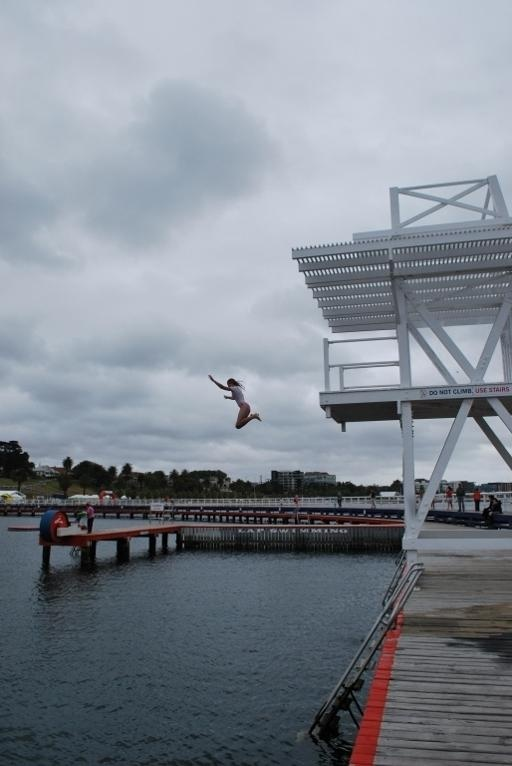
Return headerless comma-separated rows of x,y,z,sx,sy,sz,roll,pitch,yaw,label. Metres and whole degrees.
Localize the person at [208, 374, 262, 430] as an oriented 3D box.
-0.476,0.353,13.448,0.950,0.942,0.881,-1,-2,-25,person
